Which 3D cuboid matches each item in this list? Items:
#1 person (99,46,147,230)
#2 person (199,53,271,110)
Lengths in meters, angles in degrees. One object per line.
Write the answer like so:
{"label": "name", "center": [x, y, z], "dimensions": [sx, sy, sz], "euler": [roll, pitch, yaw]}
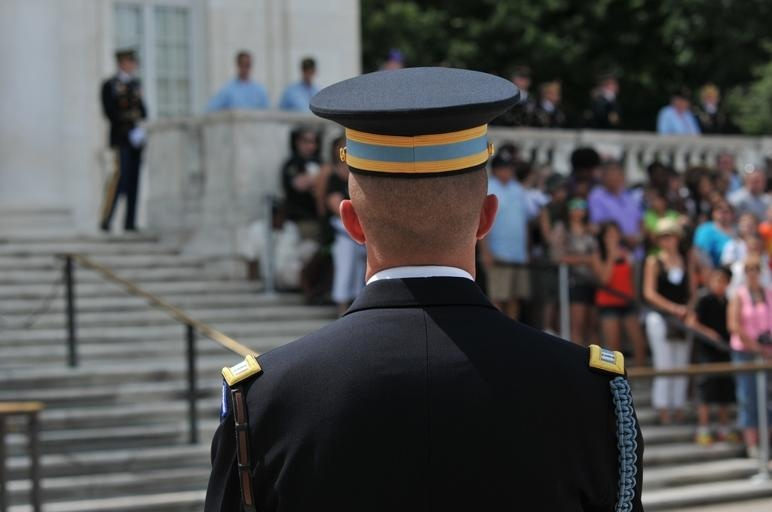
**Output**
{"label": "person", "center": [-1.420, -0.634, 8.427], "dimensions": [0.277, 0.962, 0.159], "euler": [-4, 10, -9]}
{"label": "person", "center": [-1.064, -1.274, 11.636], "dimensions": [0.749, 0.551, 0.235], "euler": [-6, 8, -40]}
